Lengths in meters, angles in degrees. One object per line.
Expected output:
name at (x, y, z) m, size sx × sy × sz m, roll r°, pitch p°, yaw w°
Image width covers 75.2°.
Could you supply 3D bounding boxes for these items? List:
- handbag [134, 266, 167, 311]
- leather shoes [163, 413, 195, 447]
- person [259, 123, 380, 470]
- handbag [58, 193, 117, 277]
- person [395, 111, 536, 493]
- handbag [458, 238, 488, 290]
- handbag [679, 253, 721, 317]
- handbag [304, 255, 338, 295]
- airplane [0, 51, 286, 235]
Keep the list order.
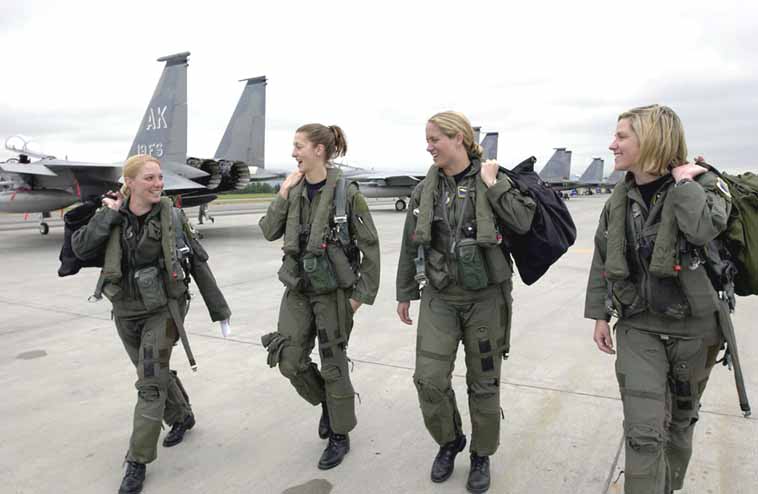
handbag at (-1.678, 0.304, 3.618) m, size 0.176 × 0.310 × 0.155 m, roll -11°, pitch 18°, yaw -32°
leather shoes at (-1.619, 1.463, 4.002) m, size 0.126 × 0.132 × 0.319 m, roll 0°, pitch 12°, yaw 18°
person at (-0.444, 0.331, 3.720) m, size 0.895 × 2.454 × 0.888 m, roll -6°, pitch 16°, yaw -14°
handbag at (-2.233, -0.077, 3.893) m, size 0.623 × 0.545 × 0.260 m, roll 3°, pitch -11°, yaw 32°
person at (0.615, 0.338, 3.494) m, size 0.758 × 2.534 × 0.893 m, roll 5°, pitch 17°, yaw 23°
handbag at (0.640, 0.123, 3.398) m, size 0.200 × 0.359 × 0.124 m, roll 0°, pitch 15°, yaw 7°
handbag at (1.904, 0.228, 3.044) m, size 0.241 × 0.364 × 0.103 m, roll -11°, pitch -10°, yaw -19°
handbag at (-0.427, 0.182, 3.587) m, size 0.250 × 0.278 × 0.174 m, roll -19°, pitch -5°, yaw 24°
airplane at (-9.467, -2.869, 16.798) m, size 10.814 × 3.634 × 7.897 m, roll 2°, pitch 7°, yaw 29°
